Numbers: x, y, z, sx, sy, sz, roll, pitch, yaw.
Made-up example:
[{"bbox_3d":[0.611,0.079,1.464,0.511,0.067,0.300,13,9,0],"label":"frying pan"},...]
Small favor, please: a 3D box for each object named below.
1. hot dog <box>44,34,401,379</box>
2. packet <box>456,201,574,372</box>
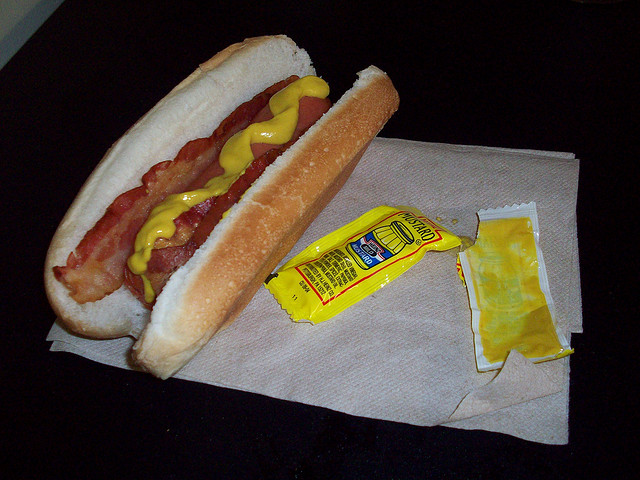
[{"bbox_3d":[-0.404,-0.179,2.117,0.707,0.509,1.404,37,86,7],"label":"hot dog"},{"bbox_3d":[0.739,0.188,2.214,0.411,0.110,0.662,-9,81,2],"label":"packet"}]
